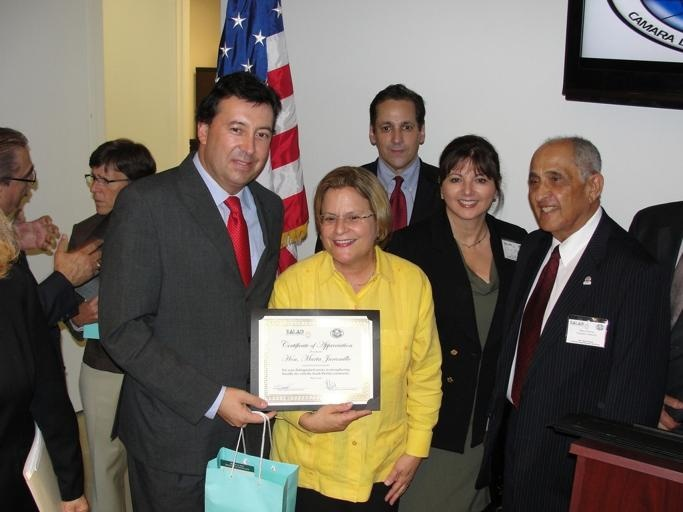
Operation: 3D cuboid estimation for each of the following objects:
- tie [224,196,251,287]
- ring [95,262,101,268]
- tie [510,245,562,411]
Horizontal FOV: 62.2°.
[{"bbox_3d":[-0.480,-0.106,2.659,0.087,0.494,0.055,6,-26,-24],"label":"tie"},{"bbox_3d":[-1.317,0.048,3.050,0.017,0.027,0.022,2,-21,-14],"label":"ring"},{"bbox_3d":[0.960,0.316,2.793,0.156,0.992,0.051,15,-24,5],"label":"tie"}]
